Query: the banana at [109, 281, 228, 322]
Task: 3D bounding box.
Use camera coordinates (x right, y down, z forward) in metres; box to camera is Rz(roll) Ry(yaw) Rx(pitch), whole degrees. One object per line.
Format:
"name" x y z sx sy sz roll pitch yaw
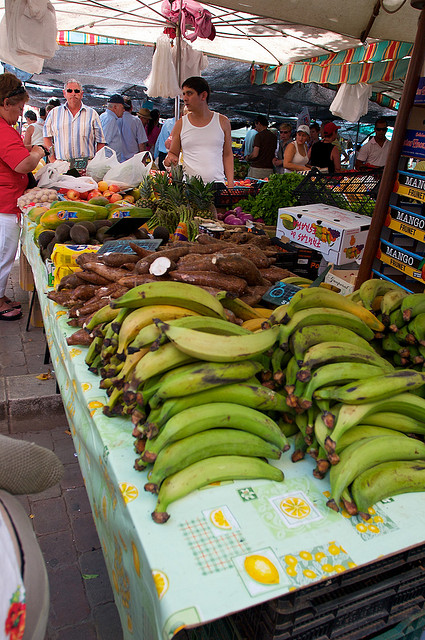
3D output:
"banana" -0.140 -0.061 1.345 0.426 0.089 0.118 3 42 -37

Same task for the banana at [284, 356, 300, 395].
"banana" 0.234 0.158 1.173 0.030 0.039 0.109 20 67 -10

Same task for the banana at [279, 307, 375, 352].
"banana" 0.403 0.062 1.445 0.330 0.074 0.160 -10 10 6

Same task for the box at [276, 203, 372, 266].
"box" 0.864 -0.692 2.993 0.537 0.309 0.753 -25 31 -23

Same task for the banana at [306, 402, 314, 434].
"banana" 0.275 0.270 1.138 0.025 0.026 0.092 -15 35 25

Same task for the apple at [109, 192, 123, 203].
"apple" -1.010 -1.241 4.241 0.112 0.115 0.116 2 48 -28

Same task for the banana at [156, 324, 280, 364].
"banana" 0.021 0.061 1.152 0.366 0.120 0.105 3 38 -9

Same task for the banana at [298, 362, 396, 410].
"banana" 0.391 0.166 1.182 0.310 0.089 0.077 -9 0 -6

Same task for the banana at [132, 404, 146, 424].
"banana" -0.200 0.244 1.073 0.029 0.020 0.059 5 19 -7

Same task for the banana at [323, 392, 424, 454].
"banana" 0.427 0.277 1.104 0.237 0.064 0.085 -19 51 -15

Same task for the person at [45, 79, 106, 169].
"person" -2.271 -3.090 6.460 0.967 1.170 0.486 9 26 9

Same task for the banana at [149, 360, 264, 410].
"banana" -0.022 0.178 1.104 0.273 0.077 0.055 -20 -2 -22

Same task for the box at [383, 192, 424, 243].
"box" 1.067 -0.573 2.290 0.227 0.140 0.227 27 51 18

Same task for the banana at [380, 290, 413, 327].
"banana" 0.704 -0.071 1.566 0.083 0.065 0.240 42 39 4

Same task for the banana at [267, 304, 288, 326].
"banana" 0.212 -0.016 1.325 0.039 0.035 0.112 41 28 1

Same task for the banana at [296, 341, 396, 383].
"banana" 0.400 0.137 1.243 0.388 0.087 0.123 2 66 -23

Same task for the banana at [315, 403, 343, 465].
"banana" 0.306 0.286 1.094 0.064 0.052 0.175 -17 43 25

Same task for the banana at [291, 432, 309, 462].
"banana" 0.246 0.359 1.151 0.028 0.032 0.094 11 37 12

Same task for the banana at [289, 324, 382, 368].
"banana" 0.364 0.081 1.314 0.243 0.048 0.132 1 42 -19

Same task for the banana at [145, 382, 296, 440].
"banana" 0.017 0.217 1.188 0.501 0.135 0.104 5 0 3

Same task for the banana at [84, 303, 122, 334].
"banana" -0.399 -0.004 1.494 0.048 0.135 0.037 36 15 -54

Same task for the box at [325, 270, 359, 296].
"box" 0.766 -0.217 2.423 0.205 0.126 0.206 12 30 16

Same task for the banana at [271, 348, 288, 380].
"banana" 0.208 0.134 1.261 0.038 0.102 0.027 19 -18 -30

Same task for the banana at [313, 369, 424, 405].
"banana" 0.423 0.185 1.129 0.258 0.054 0.050 -9 74 -19

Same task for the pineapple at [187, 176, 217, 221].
"pineapple" -0.074 -0.963 3.427 0.225 0.384 0.214 -5 5 28

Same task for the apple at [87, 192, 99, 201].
"apple" -1.266 -1.283 4.296 0.097 0.080 0.210 -6 28 -21

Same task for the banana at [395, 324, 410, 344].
"banana" 0.655 0.048 1.430 0.024 0.051 0.051 16 35 5

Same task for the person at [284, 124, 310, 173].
"person" 1.660 -3.254 7.837 0.486 0.830 0.939 10 26 11

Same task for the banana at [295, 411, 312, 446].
"banana" 0.255 0.303 1.153 0.023 0.033 0.083 13 57 -33

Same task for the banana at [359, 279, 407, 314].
"banana" 0.681 -0.123 1.672 0.147 0.049 0.184 -4 46 -23

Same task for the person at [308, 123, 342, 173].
"person" 2.273 -3.395 8.062 0.579 0.866 1.031 8 26 5

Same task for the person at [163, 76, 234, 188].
"person" -0.092 -2.133 4.692 0.772 1.071 0.569 0 26 -10

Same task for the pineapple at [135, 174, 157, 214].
"pineapple" -0.638 -1.192 3.910 0.185 0.402 0.177 -22 61 -24
